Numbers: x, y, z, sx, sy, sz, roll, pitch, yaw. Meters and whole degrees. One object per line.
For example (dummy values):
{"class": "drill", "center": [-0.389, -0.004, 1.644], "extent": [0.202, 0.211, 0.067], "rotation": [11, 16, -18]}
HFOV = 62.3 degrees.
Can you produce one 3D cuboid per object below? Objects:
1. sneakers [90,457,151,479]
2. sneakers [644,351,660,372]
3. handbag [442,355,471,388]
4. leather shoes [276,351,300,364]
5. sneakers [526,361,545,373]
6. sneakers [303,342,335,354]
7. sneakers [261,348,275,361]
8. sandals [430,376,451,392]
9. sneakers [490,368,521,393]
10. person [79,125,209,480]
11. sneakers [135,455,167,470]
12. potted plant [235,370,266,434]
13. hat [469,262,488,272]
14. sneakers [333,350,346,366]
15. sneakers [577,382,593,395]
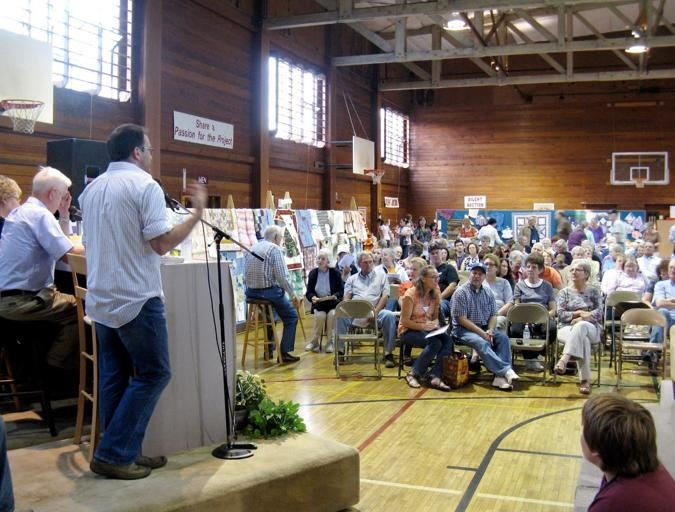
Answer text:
{"class": "sneakers", "center": [-1.253, 1.225, 3.273], "extent": [0.350, 0.156, 0.135], "rotation": [2, -2, -14]}
{"class": "sneakers", "center": [4.190, 1.389, 7.412], "extent": [0.121, 0.265, 0.193], "rotation": [6, -24, 15]}
{"class": "handbag", "center": [1.399, 1.350, 6.722], "extent": [0.189, 0.367, 0.264], "rotation": [3, -6, 33]}
{"class": "leather shoes", "center": [-0.696, 1.420, 7.807], "extent": [0.311, 0.235, 0.108], "rotation": [-2, 0, -11]}
{"class": "sneakers", "center": [2.609, 1.447, 7.328], "extent": [0.192, 0.092, 0.230], "rotation": [3, 6, 23]}
{"class": "sneakers", "center": [-0.275, 1.385, 8.419], "extent": [0.470, 0.198, 0.163], "rotation": [4, -7, -17]}
{"class": "sneakers", "center": [-1.010, 1.395, 7.979], "extent": [0.083, 0.183, 0.258], "rotation": [2, 1, 11]}
{"class": "sandals", "center": [1.237, 1.510, 6.598], "extent": [0.100, 0.117, 0.275], "rotation": [13, -8, -43]}
{"class": "sneakers", "center": [1.989, 1.464, 6.575], "extent": [0.137, 0.193, 0.435], "rotation": [0, -15, -2]}
{"class": "person", "center": [-1.194, 0.253, 3.329], "extent": [0.627, 2.068, 0.560], "rotation": [-2, 5, -19]}
{"class": "sneakers", "center": [-1.145, 1.250, 3.408], "extent": [0.167, 0.075, 0.063], "rotation": [0, 10, -11]}
{"class": "potted plant", "center": [-0.591, 1.063, 4.109], "extent": [0.308, 0.319, 0.319], "rotation": [3, -7, -4]}
{"class": "hat", "center": [1.857, 0.141, 7.330], "extent": [0.156, 0.122, 0.266], "rotation": [1, -16, 13]}
{"class": "sneakers", "center": [0.025, 1.392, 7.706], "extent": [0.177, 0.087, 0.250], "rotation": [2, 0, 2]}
{"class": "sneakers", "center": [2.872, 1.521, 6.442], "extent": [0.087, 0.106, 0.247], "rotation": [-3, -12, 12]}
